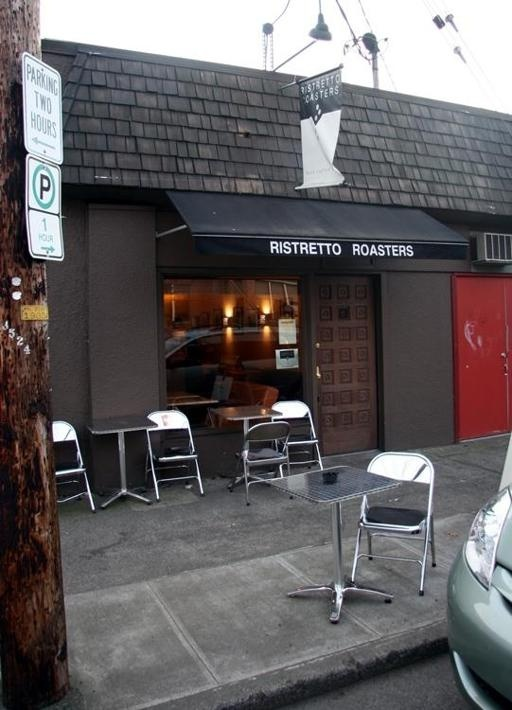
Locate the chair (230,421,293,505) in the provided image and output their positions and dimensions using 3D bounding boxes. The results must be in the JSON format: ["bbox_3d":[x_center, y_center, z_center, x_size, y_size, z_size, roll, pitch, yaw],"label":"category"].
[{"bbox_3d":[0.090,1.020,6.837,0.578,1.129,0.783,-3,15,-14],"label":"chair"}]

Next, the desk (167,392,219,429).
[{"bbox_3d":[-0.763,0.626,7.517,0.396,0.267,0.405,1,2,-27],"label":"desk"}]

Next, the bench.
[{"bbox_3d":[-0.075,0.558,7.560,0.604,0.554,0.648,1,-1,-29],"label":"bench"}]

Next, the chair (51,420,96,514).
[{"bbox_3d":[-1.834,1.101,6.475,0.375,0.867,1.032,-2,2,-17],"label":"chair"}]

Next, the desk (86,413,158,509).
[{"bbox_3d":[-1.375,1.085,6.601,0.776,1.020,0.803,-3,5,-20],"label":"desk"}]
